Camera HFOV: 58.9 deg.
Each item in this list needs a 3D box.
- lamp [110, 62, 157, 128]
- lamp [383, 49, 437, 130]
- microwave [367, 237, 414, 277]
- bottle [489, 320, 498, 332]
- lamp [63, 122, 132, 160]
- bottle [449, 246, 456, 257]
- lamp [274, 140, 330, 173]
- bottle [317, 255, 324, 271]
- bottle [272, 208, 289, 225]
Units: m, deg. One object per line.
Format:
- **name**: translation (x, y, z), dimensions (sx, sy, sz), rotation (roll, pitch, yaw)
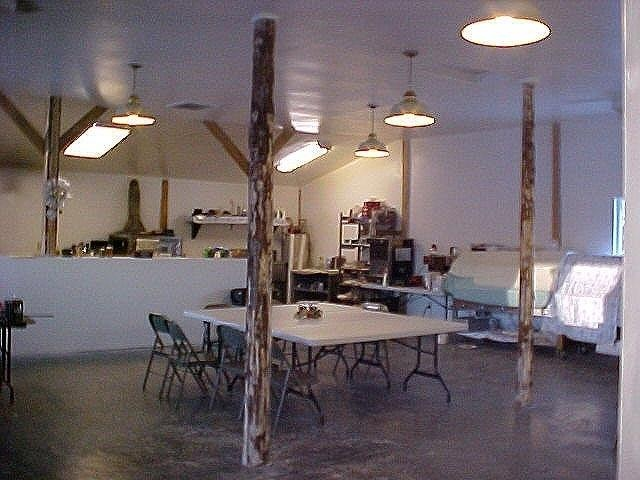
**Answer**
- **lamp**: translation (-2.502, -1.856, 7.344), dimensions (0.685, 0.759, 0.667), rotation (3, 1, 6)
- **lamp**: translation (1.061, -1.669, 6.482), dimensions (0.662, 0.804, 0.720), rotation (0, 0, 19)
- **microwave**: translation (1.376, 0.298, 10.332), dimensions (0.670, 0.875, 0.883), rotation (3, -4, -30)
- **bottle**: translation (2.922, 1.427, 9.520), dimensions (0.137, 0.164, 0.092), rotation (2, 4, 9)
- **lamp**: translation (-3.821, -1.666, 9.692), dimensions (0.805, 0.425, 1.216), rotation (-2, 5, -44)
- **bottle**: translation (2.464, 0.218, 10.468), dimensions (0.136, 0.180, 0.309), rotation (2, 4, 13)
- **lamp**: translation (-0.396, -1.676, 11.372), dimensions (0.804, 0.509, 1.452), rotation (-2, 5, -41)
- **bottle**: translation (0.010, 0.524, 12.972), dimensions (0.220, 0.397, 0.216), rotation (0, -2, 0)
- **bottle**: translation (-0.865, -0.515, 13.067), dimensions (0.315, 0.364, 0.834), rotation (1, 3, -2)
